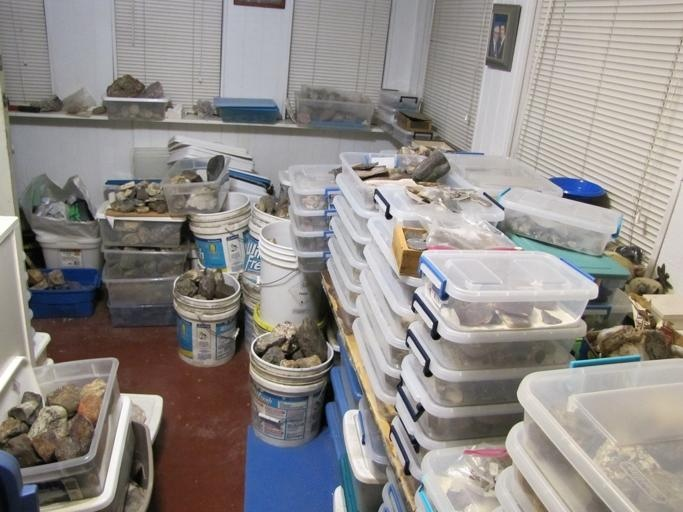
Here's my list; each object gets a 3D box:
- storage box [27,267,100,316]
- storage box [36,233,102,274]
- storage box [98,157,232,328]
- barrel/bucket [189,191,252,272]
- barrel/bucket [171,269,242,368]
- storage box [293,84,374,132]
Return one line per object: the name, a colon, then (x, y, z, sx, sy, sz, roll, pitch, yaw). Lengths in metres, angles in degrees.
storage box: (-2.125, 0.279, 3.865, 0.407, 0.196, 0.325, -1, 26, -13)
storage box: (-2.184, -0.052, 4.030, 0.381, 0.259, 0.310, -1, 16, -17)
storage box: (-1.339, -0.197, 4.035, 0.855, 0.892, 1.274, 0, 29, -8)
barrel/bucket: (-0.850, -0.212, 4.021, 0.509, 0.588, 0.568, 4, 27, 3)
barrel/bucket: (-0.931, 0.425, 3.477, 0.449, 0.619, 0.371, -1, 25, -8)
storage box: (-0.075, -1.328, 4.514, 0.686, 0.346, 0.208, 1, 25, -4)
